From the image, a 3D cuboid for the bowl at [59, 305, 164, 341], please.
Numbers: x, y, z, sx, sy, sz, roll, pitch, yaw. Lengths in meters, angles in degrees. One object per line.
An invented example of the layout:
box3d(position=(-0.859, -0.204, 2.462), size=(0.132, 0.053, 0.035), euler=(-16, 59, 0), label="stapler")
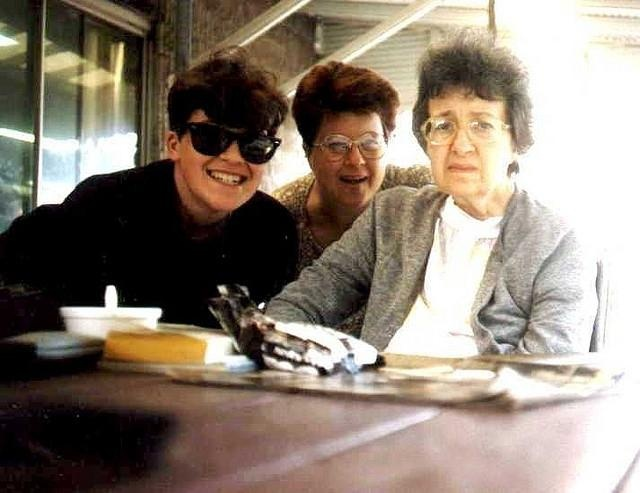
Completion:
box3d(position=(-0.400, 0.146, 1.164), size=(0.195, 0.033, 0.123), euler=(4, 2, -20), label="bowl")
